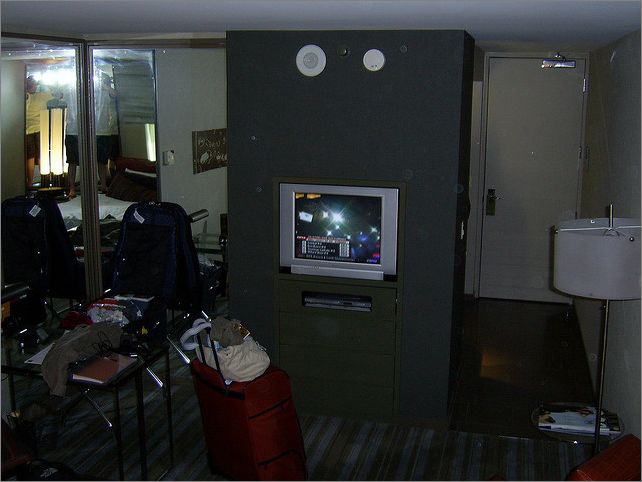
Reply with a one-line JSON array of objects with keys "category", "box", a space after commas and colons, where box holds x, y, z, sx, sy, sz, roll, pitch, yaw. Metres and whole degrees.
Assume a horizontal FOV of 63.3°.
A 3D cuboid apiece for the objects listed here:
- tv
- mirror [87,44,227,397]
[{"category": "tv", "box": [0.211, -0.089, 4.133, 1.123, 1.008, 0.630, 3, 9, 14]}, {"category": "mirror", "box": [-1.173, -0.292, 4.352, 1.567, 3.550, 0.084, -6, -24, -17]}]
